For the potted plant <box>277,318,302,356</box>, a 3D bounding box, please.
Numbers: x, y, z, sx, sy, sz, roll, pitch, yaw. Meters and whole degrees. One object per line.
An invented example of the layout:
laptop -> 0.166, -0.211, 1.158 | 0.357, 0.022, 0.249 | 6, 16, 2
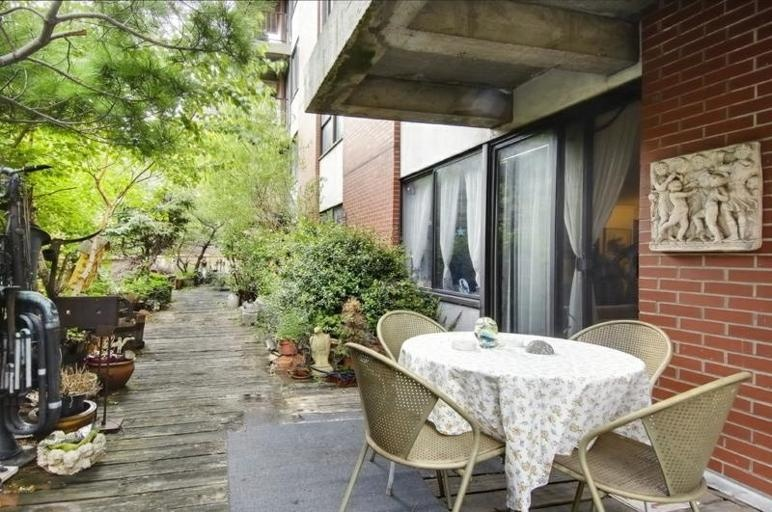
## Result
potted plant -> -1.259, 1.044, 6.880 | 0.299, 0.464, 0.571 | -3, 10, -20

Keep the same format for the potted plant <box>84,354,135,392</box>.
potted plant -> -2.917, 1.210, 5.511 | 0.644, 0.406, 0.626 | 0, -10, -14

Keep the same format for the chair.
chair -> 0.960, 1.185, 3.542 | 2.398, 1.270, 1.201 | 3, 10, 16
